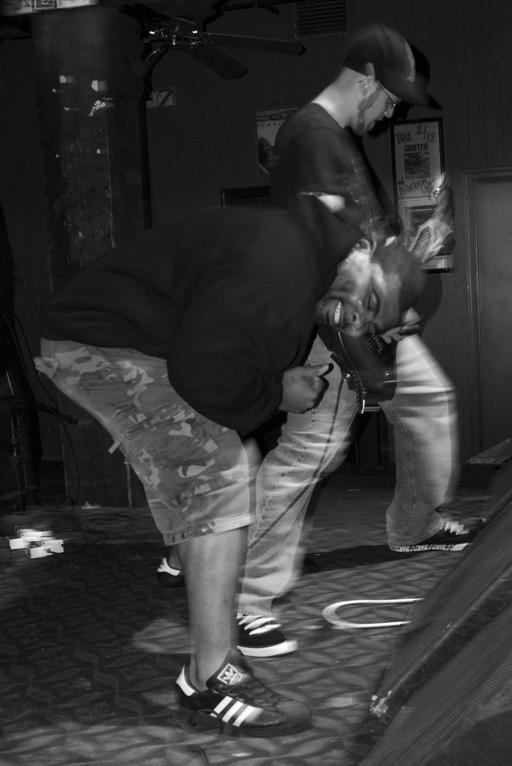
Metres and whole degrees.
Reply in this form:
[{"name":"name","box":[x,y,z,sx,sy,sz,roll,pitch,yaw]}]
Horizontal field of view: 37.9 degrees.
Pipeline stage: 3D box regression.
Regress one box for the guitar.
[{"name":"guitar","box":[0.165,-0.095,0.798,0.140,0.276,0.042,35,-39,-29]}]

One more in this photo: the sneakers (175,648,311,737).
[{"name":"sneakers","box":[-0.011,0.263,0.654,0.130,0.050,0.047,0,5,30]}]
